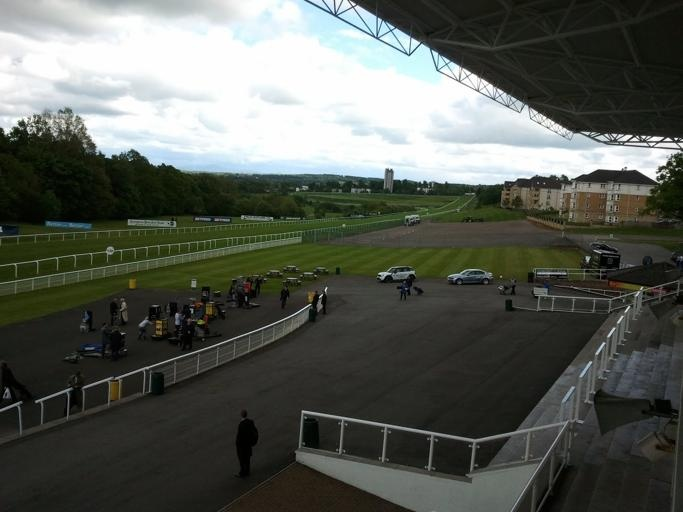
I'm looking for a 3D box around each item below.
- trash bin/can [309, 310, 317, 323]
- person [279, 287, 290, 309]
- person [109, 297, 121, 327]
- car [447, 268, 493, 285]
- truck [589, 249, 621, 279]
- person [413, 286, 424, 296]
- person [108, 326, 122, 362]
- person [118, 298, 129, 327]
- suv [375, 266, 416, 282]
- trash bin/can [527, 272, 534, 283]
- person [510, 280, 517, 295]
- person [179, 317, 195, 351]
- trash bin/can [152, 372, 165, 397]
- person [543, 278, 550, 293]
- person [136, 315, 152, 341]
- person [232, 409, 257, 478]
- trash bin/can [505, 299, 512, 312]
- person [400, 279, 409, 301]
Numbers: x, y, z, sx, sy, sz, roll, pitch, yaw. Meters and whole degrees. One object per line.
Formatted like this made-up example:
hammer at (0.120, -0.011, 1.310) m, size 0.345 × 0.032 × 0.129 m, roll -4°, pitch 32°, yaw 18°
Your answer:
trash bin/can at (-1.641, 3.487, 28.931) m, size 0.648 × 0.832 × 0.608 m, roll 0°, pitch 0°, yaw 0°
person at (-3.815, 2.795, 33.635) m, size 0.483 × 1.333 × 1.785 m, roll -1°, pitch 8°, yaw -9°
person at (-13.391, 3.406, 29.428) m, size 0.614 × 1.597 × 0.597 m, roll -8°, pitch 35°, yaw -16°
car at (10.878, 1.800, 41.996) m, size 3.320 × 1.024 × 1.465 m, roll 2°, pitch -1°, yaw -2°
truck at (21.532, 0.757, 40.696) m, size 1.943 × 1.862 × 3.330 m, roll 1°, pitch 12°, yaw 8°
person at (5.661, 2.608, 36.295) m, size 0.435 × 0.501 × 0.847 m, roll 0°, pitch -3°, yaw 15°
person at (-10.356, 4.075, 22.770) m, size 0.586 × 1.332 × 0.889 m, roll -3°, pitch 8°, yaw -24°
person at (-12.415, 3.261, 28.379) m, size 0.378 × 1.384 × 0.597 m, roll -4°, pitch 9°, yaw -31°
suv at (4.815, 1.654, 43.911) m, size 2.678 × 0.989 × 1.510 m, roll 0°, pitch 2°, yaw -7°
trash bin/can at (15.994, 1.824, 41.719) m, size 0.819 × 0.841 × 0.324 m, roll -5°, pitch 9°, yaw -36°
person at (12.199, 2.235, 35.142) m, size 0.231 × 1.066 × 0.823 m, roll 3°, pitch 8°, yaw 18°
person at (-7.598, 3.800, 24.508) m, size 0.606 × 1.503 × 1.583 m, roll -2°, pitch 8°, yaw -18°
trash bin/can at (-6.774, 4.743, 18.379) m, size 0.486 × 0.786 × 0.417 m, roll -2°, pitch 8°, yaw -23°
person at (14.578, 2.148, 35.341) m, size 0.378 × 0.505 × 0.745 m, roll 15°, pitch 7°, yaw 4°
person at (-10.661, 3.995, 26.935) m, size 0.601 × 1.377 × 1.022 m, roll 18°, pitch 21°, yaw 34°
person at (-2.546, 4.876, 13.441) m, size 0.525 × 1.880 × 1.106 m, roll -1°, pitch 8°, yaw -12°
trash bin/can at (10.272, 3.034, 30.193) m, size 0.630 × 0.670 × 0.611 m, roll 0°, pitch -1°, yaw 0°
person at (4.537, 2.354, 35.248) m, size 0.649 × 1.248 × 2.252 m, roll 2°, pitch 8°, yaw 8°
